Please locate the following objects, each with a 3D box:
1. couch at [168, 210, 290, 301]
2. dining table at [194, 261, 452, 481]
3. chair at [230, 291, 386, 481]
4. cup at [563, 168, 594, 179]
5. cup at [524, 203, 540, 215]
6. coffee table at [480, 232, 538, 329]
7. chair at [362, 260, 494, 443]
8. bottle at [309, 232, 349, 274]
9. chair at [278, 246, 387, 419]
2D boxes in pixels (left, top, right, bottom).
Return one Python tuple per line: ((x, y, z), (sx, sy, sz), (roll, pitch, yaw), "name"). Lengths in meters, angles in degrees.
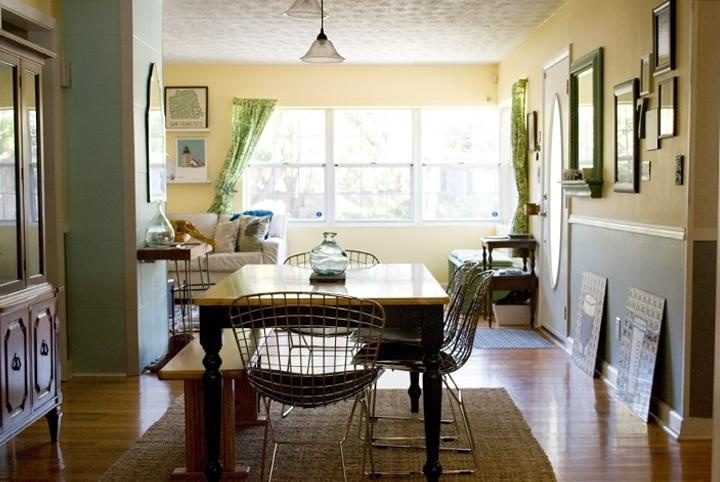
((-2.070, 0.210, 8.270), (1.949, 1.313, 1.086), (1, -1, -2), "couch")
((-0.203, 0.721, 4.011), (1.409, 1.033, 1.414), (0, 3, 5), "dining table")
((-0.318, 0.865, 3.899), (1.098, 1.678, 1.226), (1, 4, 1), "chair")
((2.107, -0.640, 5.553), (0.147, 0.092, 0.149), (1, 3, 0), "cup")
((2.075, -0.386, 6.936), (0.168, 0.143, 0.197), (3, 11, 14), "cup")
((1.868, 0.497, 7.331), (0.641, 1.045, 1.029), (0, 1, 6), "coffee table")
((0.428, 0.800, 3.934), (0.932, 1.232, 0.906), (-2, 7, -16), "chair")
((-0.229, 0.090, 4.149), (0.272, 0.302, 0.180), (0, 7, 0), "bottle")
((-0.207, 0.787, 6.749), (1.468, 1.769, 1.239), (1, 4, 0), "chair")
